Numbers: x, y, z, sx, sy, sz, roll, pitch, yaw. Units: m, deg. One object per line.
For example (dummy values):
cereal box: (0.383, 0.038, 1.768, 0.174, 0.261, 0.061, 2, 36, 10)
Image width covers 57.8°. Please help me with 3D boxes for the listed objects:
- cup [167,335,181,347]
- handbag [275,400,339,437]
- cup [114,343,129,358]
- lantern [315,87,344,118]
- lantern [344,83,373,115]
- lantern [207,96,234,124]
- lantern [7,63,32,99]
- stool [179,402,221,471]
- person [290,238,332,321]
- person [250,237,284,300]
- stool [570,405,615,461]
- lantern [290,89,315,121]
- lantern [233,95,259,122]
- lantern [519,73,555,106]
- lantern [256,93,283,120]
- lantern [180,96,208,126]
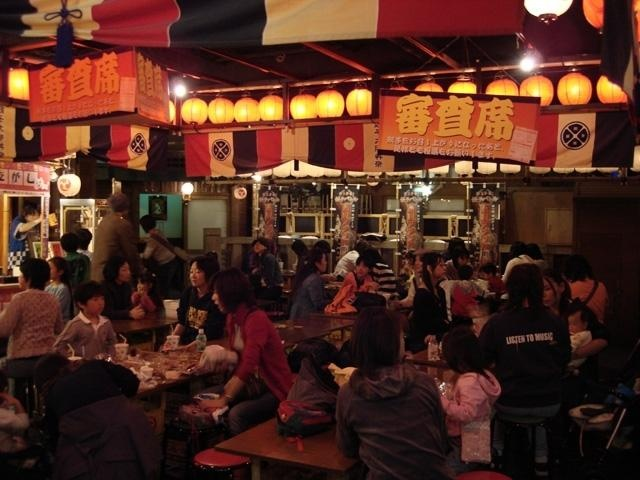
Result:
cup: (-1.560, 1.082, 6.169, 0.135, 0.115, 0.132, -1, -10, 0)
handbag: (-0.125, 1.351, 4.356, 0.293, 0.137, 0.261, 2, 0, 25)
cup: (-2.001, 1.123, 5.866, 0.131, 0.148, 0.127, 4, -3, 0)
lantern: (0.154, -2.099, 8.820, 0.428, 0.489, 0.426, -7, 16, -32)
lantern: (0.602, -2.118, 8.808, 0.401, 0.474, 0.417, 0, 2, 19)
lantern: (-1.642, -2.117, 9.626, 0.439, 0.511, 0.449, 0, 8, -14)
lantern: (-4.287, -2.271, 8.268, 0.238, 0.521, 0.400, 1, 0, -32)
stool: (-1.050, 1.662, 5.059, 0.435, 0.625, 0.463, 1, 2, -21)
person: (-0.151, 0.646, 8.527, 0.566, 1.028, 0.583, 0, 0, -3)
person: (-1.139, 0.517, 11.453, 0.794, 1.110, 0.674, 2, 3, 10)
stool: (2.410, 1.713, 5.131, 0.191, 0.448, 0.420, 3, 2, -43)
lantern: (-0.269, -2.138, 9.042, 0.394, 0.459, 0.406, -3, 11, -7)
lantern: (-1.179, -2.107, 9.410, 0.429, 0.491, 0.432, -3, 10, -25)
lantern: (2.988, -2.077, 8.044, 0.429, 0.536, 0.450, 0, 0, 19)
lantern: (-0.764, -2.088, 9.385, 0.389, 0.470, 0.404, -2, -5, 20)
lantern: (-2.020, -2.088, 9.612, 0.436, 0.511, 0.451, -4, -7, 1)
